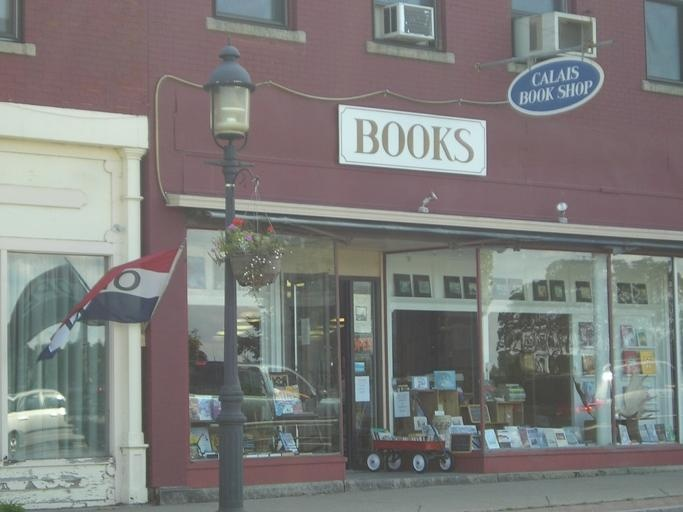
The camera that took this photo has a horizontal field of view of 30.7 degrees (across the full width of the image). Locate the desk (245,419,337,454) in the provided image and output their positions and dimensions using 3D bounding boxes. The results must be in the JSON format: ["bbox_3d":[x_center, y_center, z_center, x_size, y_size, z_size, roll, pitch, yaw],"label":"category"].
[{"bbox_3d":[-0.786,2.651,18.527,1.466,0.497,0.501,1,2,-31],"label":"desk"}]

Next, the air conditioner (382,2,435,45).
[{"bbox_3d":[1.062,-3.716,19.767,0.825,0.564,0.348,5,5,-8],"label":"air conditioner"}]

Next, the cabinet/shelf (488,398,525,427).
[{"bbox_3d":[2.628,2.469,19.985,0.411,0.402,0.165,5,-10,-39],"label":"cabinet/shelf"}]

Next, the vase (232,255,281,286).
[{"bbox_3d":[-1.086,0.154,15.584,0.410,0.282,0.423,-5,-8,24],"label":"vase"}]

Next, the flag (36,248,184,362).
[{"bbox_3d":[-3.149,0.531,17.419,1.653,1.573,0.376,4,5,-17],"label":"flag"}]

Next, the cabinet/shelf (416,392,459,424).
[{"bbox_3d":[1.590,2.428,20.216,0.462,0.464,0.151,-4,-10,36],"label":"cabinet/shelf"}]

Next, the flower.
[{"bbox_3d":[-1.143,-0.039,15.867,0.786,1.185,0.854,8,-6,-26],"label":"flower"}]
